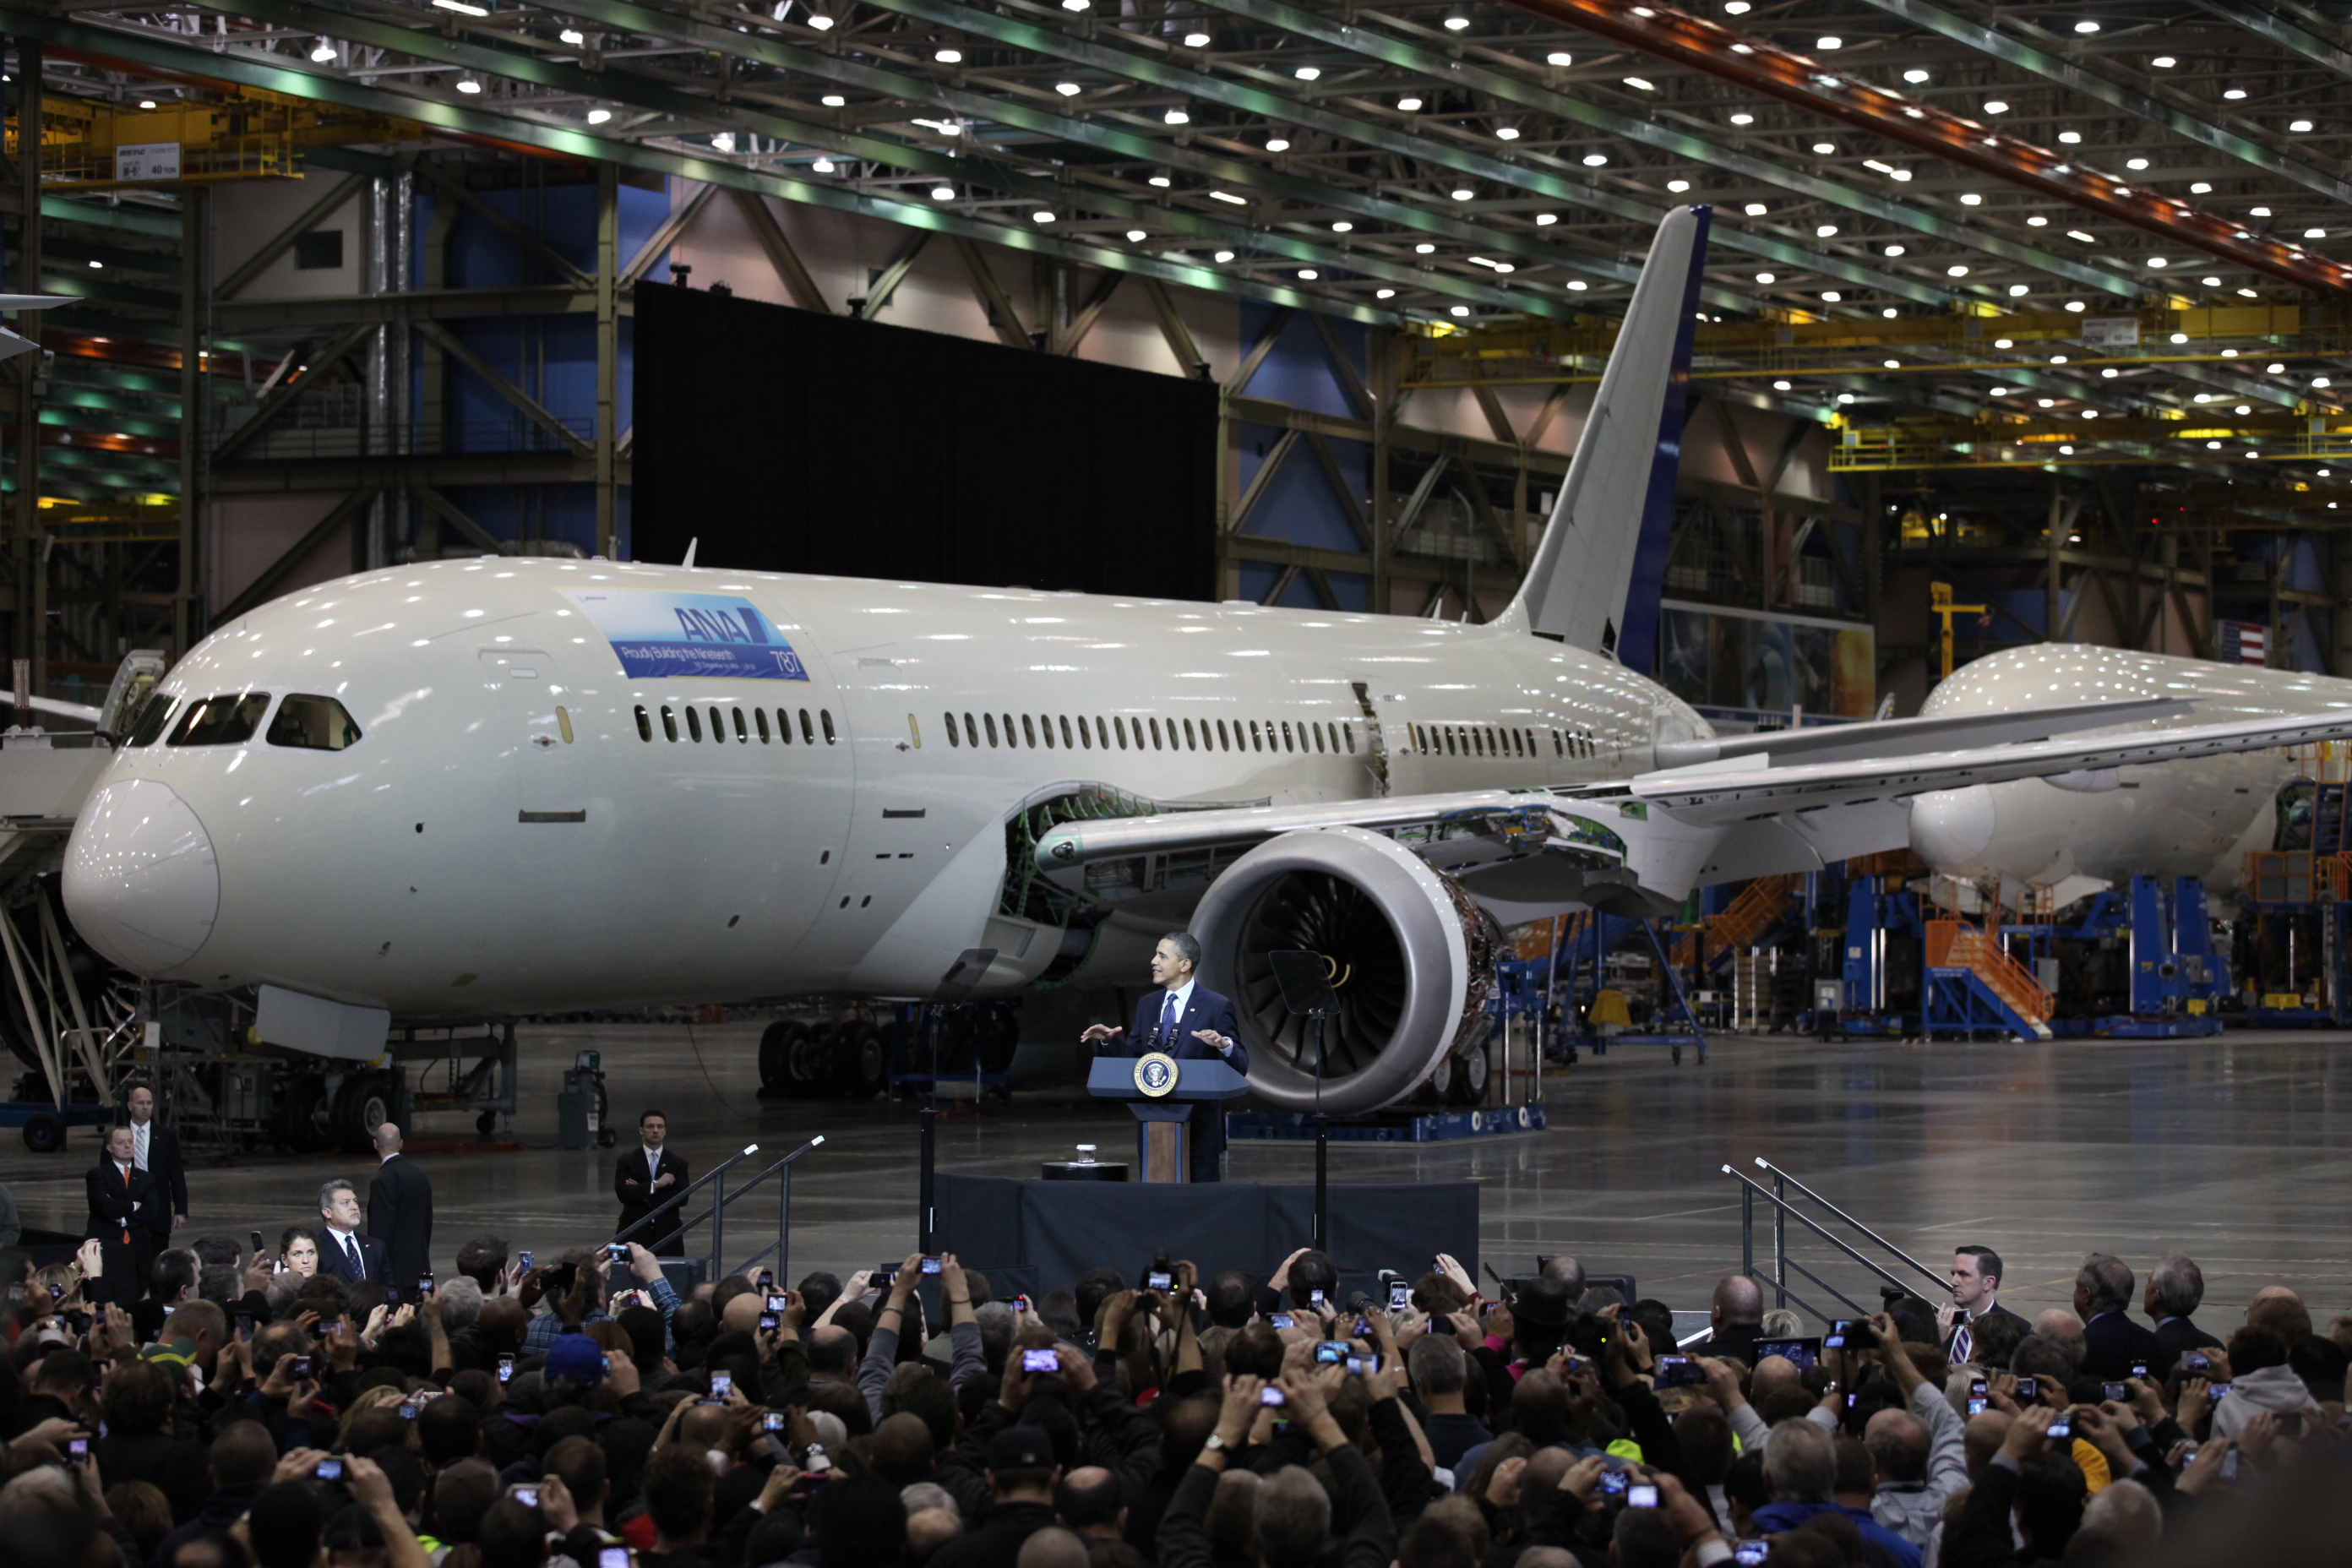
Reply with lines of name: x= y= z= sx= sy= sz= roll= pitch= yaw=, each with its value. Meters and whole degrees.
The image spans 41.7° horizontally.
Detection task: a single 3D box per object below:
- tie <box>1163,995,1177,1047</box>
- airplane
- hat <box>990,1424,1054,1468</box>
tie: x=-0.011 y=1.513 z=19.872 sx=0.095 sy=0.329 sz=0.097 roll=-1 pitch=-49 yaw=11
airplane: x=-0.592 y=0.008 z=27.731 sx=15.003 sy=4.864 sz=15.008 roll=-5 pitch=-5 yaw=42
hat: x=-0.620 y=2.754 z=12.785 sx=0.260 sy=0.162 sz=0.177 roll=7 pitch=12 yaw=0
